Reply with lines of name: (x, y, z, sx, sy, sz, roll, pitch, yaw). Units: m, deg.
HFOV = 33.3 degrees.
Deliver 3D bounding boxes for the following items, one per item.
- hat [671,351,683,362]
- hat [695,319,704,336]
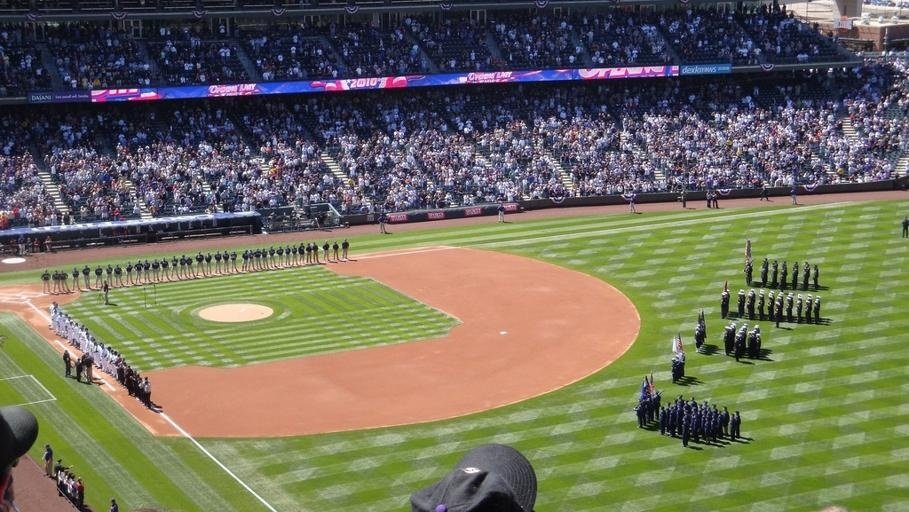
hat: (17.364, 7.913, 117.293, 0.917, 0.254, 0.823, 4, 14, 22)
hat: (19.954, 5.710, 121.431, 0.510, 0.834, 1.064, 20, 52, -14)
